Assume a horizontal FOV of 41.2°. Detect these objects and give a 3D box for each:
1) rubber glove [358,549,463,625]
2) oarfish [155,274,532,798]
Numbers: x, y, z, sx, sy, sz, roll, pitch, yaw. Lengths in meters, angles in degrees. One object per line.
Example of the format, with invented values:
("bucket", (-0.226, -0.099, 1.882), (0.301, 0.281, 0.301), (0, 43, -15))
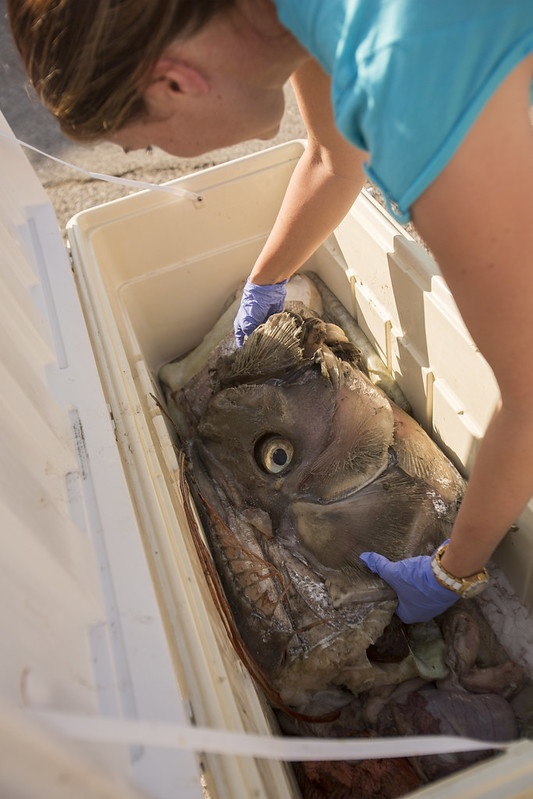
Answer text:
("rubber glove", (0.293, 0.380, 1.423), (0.141, 0.064, 0.187), (-30, 24, -27))
("oarfish", (0.077, 0.319, 1.723), (0.664, 0.343, 1.028), (-24, 72, -16))
